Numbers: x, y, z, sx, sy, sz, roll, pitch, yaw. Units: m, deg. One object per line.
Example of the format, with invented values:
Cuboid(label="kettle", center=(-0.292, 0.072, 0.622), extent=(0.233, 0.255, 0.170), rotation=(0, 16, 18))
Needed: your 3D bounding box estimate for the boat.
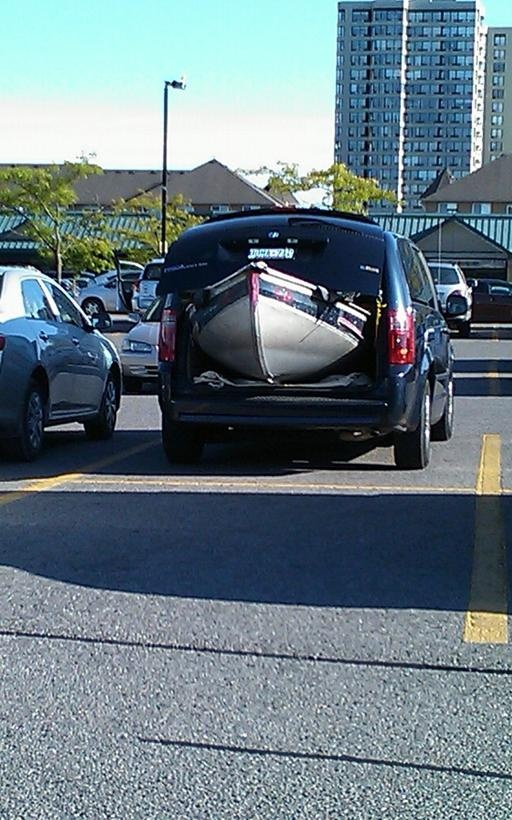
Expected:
Cuboid(label="boat", center=(0.205, -0.671, 7.036), extent=(1.671, 0.839, 2.251), rotation=(0, -11, 15))

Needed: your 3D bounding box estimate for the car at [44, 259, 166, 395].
Cuboid(label="car", center=(-2.786, -1.862, 15.285), extent=(2.331, 2.167, 5.107), rotation=(1, 8, 2))

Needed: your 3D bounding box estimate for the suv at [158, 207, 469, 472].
Cuboid(label="suv", center=(0.463, -0.515, 8.118), extent=(2.783, 2.548, 4.769), rotation=(0, -6, 0))
